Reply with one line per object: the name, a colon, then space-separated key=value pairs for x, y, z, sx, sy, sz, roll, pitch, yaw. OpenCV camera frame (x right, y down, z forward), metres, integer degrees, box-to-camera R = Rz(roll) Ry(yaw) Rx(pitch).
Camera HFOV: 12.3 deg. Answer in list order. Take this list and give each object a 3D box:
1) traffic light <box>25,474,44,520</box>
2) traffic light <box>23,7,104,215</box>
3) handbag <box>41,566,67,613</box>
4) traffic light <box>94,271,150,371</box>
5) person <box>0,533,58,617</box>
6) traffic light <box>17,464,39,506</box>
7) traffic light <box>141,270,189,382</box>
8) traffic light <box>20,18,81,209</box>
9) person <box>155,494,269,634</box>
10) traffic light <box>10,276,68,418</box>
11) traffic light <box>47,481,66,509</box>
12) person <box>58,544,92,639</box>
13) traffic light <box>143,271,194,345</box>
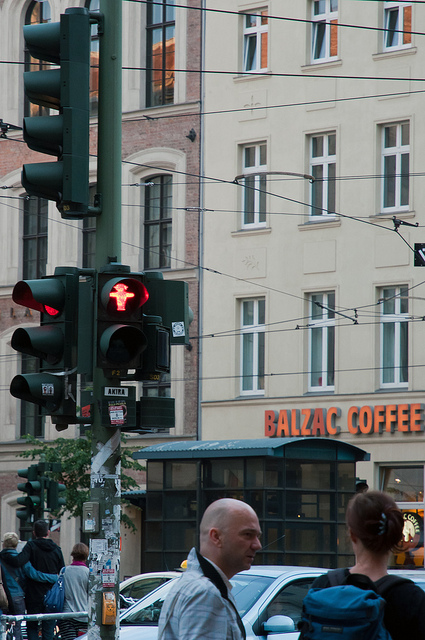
traffic light: x=-2.337 y=2.345 z=26.157 sx=0.279 sy=0.633 sz=0.551 roll=-7 pitch=-8 yaw=-5
traffic light: x=-1.301 y=-1.796 z=16.812 sx=0.683 sy=1.753 sz=0.355 roll=-7 pitch=-7 yaw=-3
handbag: x=-1.794 y=3.083 z=22.350 sx=0.184 sy=0.427 sz=0.327 roll=10 pitch=-29 yaw=1
traffic light: x=-0.788 y=-0.022 z=17.057 sx=0.476 sy=0.854 sz=0.285 roll=-6 pitch=-7 yaw=-10
person: x=-2.070 y=2.940 z=22.381 sx=0.706 sy=1.023 sz=0.298 roll=-1 pitch=-4 yaw=-9
traffic light: x=-2.467 y=2.222 z=26.336 sx=0.103 sy=0.550 sz=0.314 roll=5 pitch=-7 yaw=-34
traffic light: x=-0.490 y=0.037 z=17.563 sx=0.472 sy=0.954 sz=0.476 roll=-4 pitch=-6 yaw=30
traffic light: x=-1.323 y=-1.766 z=16.878 sx=0.468 sy=1.749 sz=0.410 roll=-1 pitch=-13 yaw=-3
person: x=-0.014 y=1.680 z=13.287 sx=0.768 sy=0.923 sz=0.375 roll=-7 pitch=-7 yaw=-10
traffic light: x=-1.503 y=0.247 z=16.873 sx=0.595 sy=1.246 sz=0.394 roll=-1 pitch=-9 yaw=-40
traffic light: x=-2.117 y=2.400 z=26.828 sx=0.263 sy=0.426 sz=1.106 roll=-7 pitch=-9 yaw=-5
person: x=-1.532 y=3.002 z=21.833 sx=0.396 sy=1.050 sz=1.442 roll=-7 pitch=-9 yaw=-4
traffic light: x=-0.335 y=-0.110 z=17.784 sx=0.492 sy=0.846 sz=0.540 roll=0 pitch=-3 yaw=3
